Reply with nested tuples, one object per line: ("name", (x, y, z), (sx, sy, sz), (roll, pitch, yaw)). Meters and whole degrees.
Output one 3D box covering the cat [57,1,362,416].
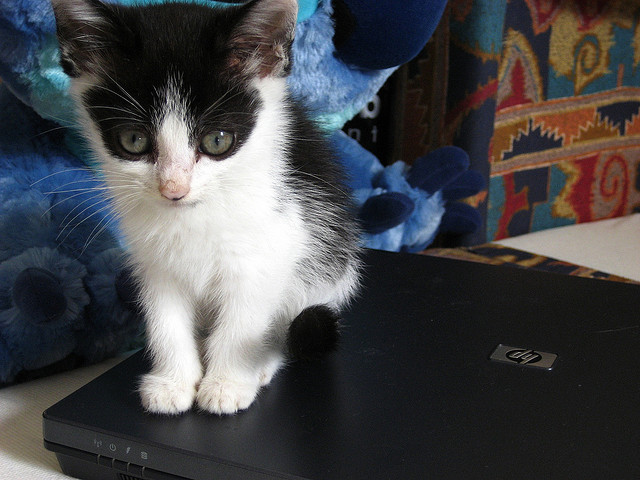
("cat", (-0.130, -0.046, 0.958), (0.480, 0.567, 0.166), (2, 7, -23))
